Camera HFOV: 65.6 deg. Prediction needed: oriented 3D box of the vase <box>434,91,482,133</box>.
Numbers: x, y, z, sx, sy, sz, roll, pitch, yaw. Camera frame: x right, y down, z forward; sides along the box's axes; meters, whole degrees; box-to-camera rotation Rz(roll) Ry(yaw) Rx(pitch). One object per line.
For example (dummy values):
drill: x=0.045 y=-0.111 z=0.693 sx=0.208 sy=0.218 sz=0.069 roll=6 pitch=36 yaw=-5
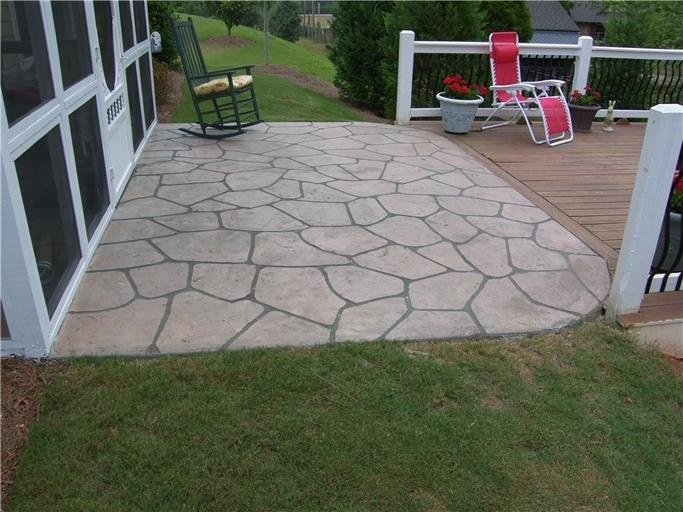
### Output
vase: x=1.755 y=-2.145 z=8.138 sx=0.729 sy=0.459 sz=0.673 roll=13 pitch=20 yaw=27

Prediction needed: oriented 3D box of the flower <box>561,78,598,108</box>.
flower: x=3.941 y=-2.727 z=8.652 sx=0.543 sy=0.520 sz=0.564 roll=15 pitch=28 yaw=26

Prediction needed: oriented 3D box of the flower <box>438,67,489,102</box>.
flower: x=1.797 y=-2.498 z=7.856 sx=0.614 sy=0.318 sz=0.371 roll=9 pitch=26 yaw=18

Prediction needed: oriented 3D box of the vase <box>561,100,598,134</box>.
vase: x=3.762 y=-2.228 z=8.554 sx=0.567 sy=0.397 sz=0.480 roll=1 pitch=27 yaw=3

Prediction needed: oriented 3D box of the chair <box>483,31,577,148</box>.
chair: x=2.801 y=-2.551 z=7.997 sx=1.002 sy=1.425 sz=1.274 roll=-21 pitch=34 yaw=-37
